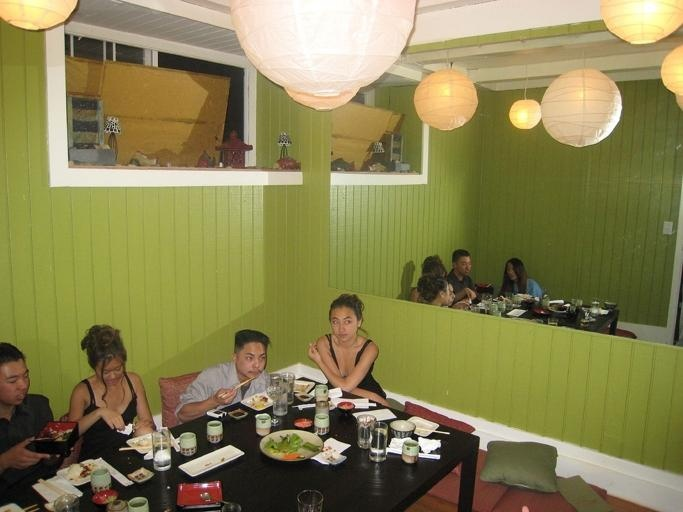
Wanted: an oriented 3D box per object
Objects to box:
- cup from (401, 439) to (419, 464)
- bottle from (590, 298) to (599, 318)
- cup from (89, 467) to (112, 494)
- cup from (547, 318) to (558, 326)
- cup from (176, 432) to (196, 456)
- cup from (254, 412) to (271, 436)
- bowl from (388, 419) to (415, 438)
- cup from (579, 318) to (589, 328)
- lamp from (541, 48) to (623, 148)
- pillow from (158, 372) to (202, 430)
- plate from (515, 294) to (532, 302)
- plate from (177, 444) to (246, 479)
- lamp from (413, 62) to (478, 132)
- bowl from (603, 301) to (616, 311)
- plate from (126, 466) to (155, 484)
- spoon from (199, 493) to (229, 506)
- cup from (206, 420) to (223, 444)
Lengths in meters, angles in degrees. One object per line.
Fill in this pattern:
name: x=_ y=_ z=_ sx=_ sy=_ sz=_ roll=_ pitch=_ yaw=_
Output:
cup: x=0.333 y=0.945 z=2.511 sx=0.088 sy=0.094 sz=0.089 roll=0 pitch=9 yaw=0
bottle: x=1.679 y=0.347 z=3.441 sx=0.054 sy=0.106 sz=0.029 roll=7 pitch=10 yaw=37
cup: x=-1.039 y=0.972 z=2.246 sx=0.090 sy=0.095 sz=0.091 roll=4 pitch=11 yaw=-1
cup: x=1.480 y=0.457 z=3.654 sx=0.052 sy=0.055 sz=0.054 roll=-9 pitch=1 yaw=0
cup: x=-0.747 y=0.893 z=2.532 sx=0.095 sy=0.098 sz=0.096 roll=-1 pitch=10 yaw=0
cup: x=-0.405 y=0.875 z=2.697 sx=0.062 sy=0.073 sz=0.098 roll=0 pitch=-8 yaw=1
bowl: x=0.323 y=0.907 z=2.738 sx=0.081 sy=0.035 sz=0.082 roll=0 pitch=8 yaw=0
cup: x=1.631 y=0.451 z=3.505 sx=0.059 sy=0.099 sz=0.060 roll=-1 pitch=2 yaw=0
lamp: x=1.428 y=-0.870 z=3.115 sx=0.460 sy=0.527 sz=0.461 roll=2 pitch=0 yaw=-25
pillow: x=-1.034 y=0.920 z=3.326 sx=0.125 sy=0.323 sz=0.306 roll=-8 pitch=-8 yaw=39
plate: x=1.297 y=0.298 z=3.732 sx=0.061 sy=0.047 sz=0.062 roll=3 pitch=7 yaw=14
plate: x=-0.610 y=0.952 z=2.459 sx=0.104 sy=0.031 sz=0.215 roll=17 pitch=21 yaw=41
lamp: x=0.740 y=-1.026 z=3.628 sx=0.394 sy=0.434 sz=0.398 roll=-2 pitch=-6 yaw=36
bowl: x=1.749 y=0.325 z=3.391 sx=0.054 sy=0.038 sz=0.055 roll=7 pitch=-2 yaw=0
plate: x=-0.903 y=0.994 z=2.355 sx=0.102 sy=0.028 sz=0.092 roll=5 pitch=8 yaw=25
spoon: x=-0.538 y=1.036 z=2.203 sx=0.096 sy=0.025 sz=0.069 roll=-1 pitch=8 yaw=-22
cup: x=-0.630 y=0.876 z=2.595 sx=0.093 sy=0.097 sz=0.094 roll=2 pitch=-2 yaw=0
